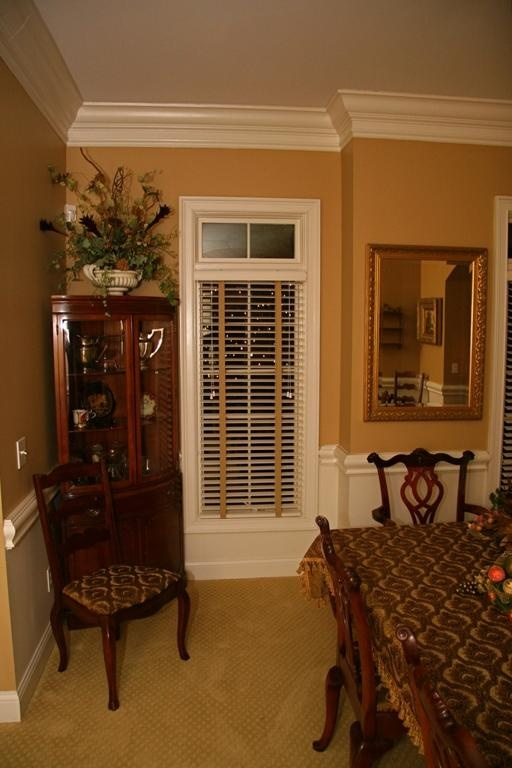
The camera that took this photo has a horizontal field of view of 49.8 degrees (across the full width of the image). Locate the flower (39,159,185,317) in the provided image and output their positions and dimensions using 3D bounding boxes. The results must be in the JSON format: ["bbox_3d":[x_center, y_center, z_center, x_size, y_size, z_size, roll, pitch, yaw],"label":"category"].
[{"bbox_3d":[-0.762,-0.821,2.972,0.536,0.713,0.523,2,29,-4],"label":"flower"}]

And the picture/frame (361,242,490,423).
[{"bbox_3d":[0.945,-0.338,3.179,0.965,1.419,0.063,-1,4,-11],"label":"picture/frame"}]

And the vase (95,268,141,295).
[{"bbox_3d":[-0.714,-0.538,2.900,0.250,0.136,0.214,-2,6,-23],"label":"vase"}]

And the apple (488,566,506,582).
[{"bbox_3d":[0.701,0.555,1.612,0.044,0.046,0.024,-23,-26,32],"label":"apple"}]

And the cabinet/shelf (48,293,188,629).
[{"bbox_3d":[-0.751,0.371,3.080,0.692,1.752,0.408,-8,18,-32],"label":"cabinet/shelf"}]

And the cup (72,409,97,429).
[{"bbox_3d":[-0.866,0.175,2.775,0.101,0.081,0.061,1,4,-8],"label":"cup"}]

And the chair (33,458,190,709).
[{"bbox_3d":[-0.623,0.853,2.457,0.607,0.964,0.605,-3,3,-7],"label":"chair"}]
